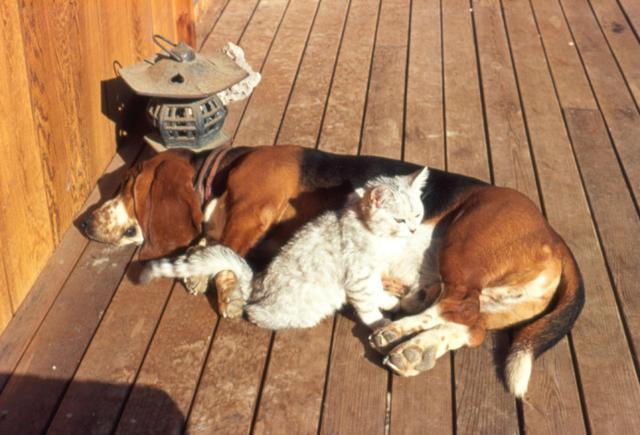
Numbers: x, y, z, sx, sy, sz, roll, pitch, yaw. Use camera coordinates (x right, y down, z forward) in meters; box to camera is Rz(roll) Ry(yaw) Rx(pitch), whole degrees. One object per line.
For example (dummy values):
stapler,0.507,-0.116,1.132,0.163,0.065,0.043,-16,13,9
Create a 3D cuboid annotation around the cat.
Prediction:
cat,-0.190,0.213,3.094,1.360,0.452,0.731,-14,73,-2
